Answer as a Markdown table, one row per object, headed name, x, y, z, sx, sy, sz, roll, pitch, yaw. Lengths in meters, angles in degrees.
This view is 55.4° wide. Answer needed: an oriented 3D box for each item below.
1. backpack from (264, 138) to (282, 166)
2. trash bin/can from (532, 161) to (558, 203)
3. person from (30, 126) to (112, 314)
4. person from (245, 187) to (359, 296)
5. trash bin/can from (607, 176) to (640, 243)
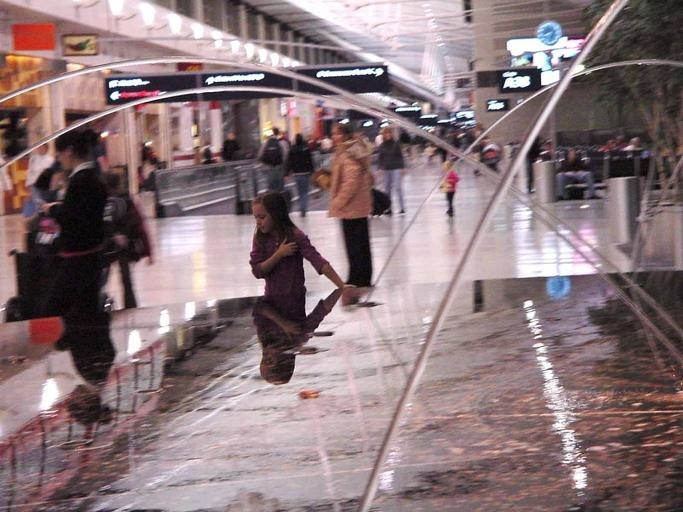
| name | x | y | z | sx | sy | sz | roll | pitch | yaw |
| --- | --- | --- | --- | --- | --- | --- | --- | --- | --- |
| backpack | -1.671 | -2.457 | 15.356 | 0.471 | 0.676 | 0.249 | -6 | 11 | -7 |
| trash bin/can | 4.779 | -1.766 | 15.460 | 0.487 | 0.966 | 0.743 | -2 | 10 | 17 |
| person | -1.740 | -0.200 | 4.200 | 0.464 | 1.198 | 0.257 | -9 | 12 | -21 |
| person | -0.239 | -0.054 | 4.360 | 0.351 | 0.795 | 0.747 | 5 | 13 | 42 |
| trash bin/can | 4.107 | -0.720 | 9.563 | 0.421 | 0.855 | 0.820 | -1 | 10 | 21 |
